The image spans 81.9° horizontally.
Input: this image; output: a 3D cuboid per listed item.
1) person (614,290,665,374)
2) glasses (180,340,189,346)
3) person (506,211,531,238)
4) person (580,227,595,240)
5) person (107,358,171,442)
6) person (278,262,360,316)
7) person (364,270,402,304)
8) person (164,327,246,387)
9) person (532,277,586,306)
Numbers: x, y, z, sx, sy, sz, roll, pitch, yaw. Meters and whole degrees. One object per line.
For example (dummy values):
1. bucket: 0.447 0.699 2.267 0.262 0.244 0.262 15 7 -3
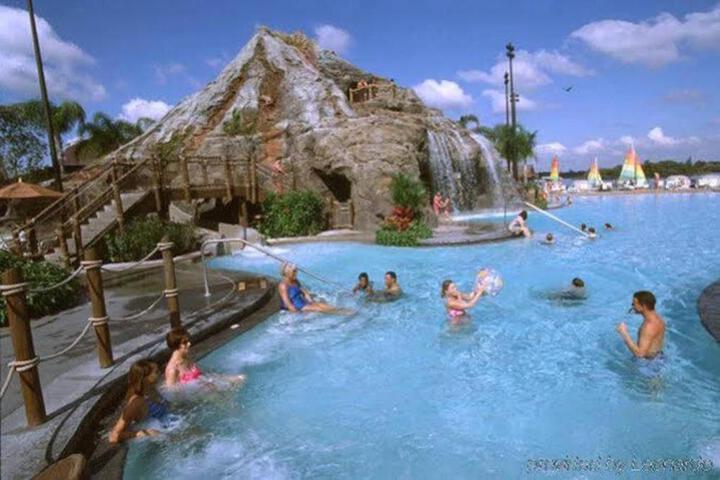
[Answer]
1. person: 5.573 1.898 8.276 0.943 1.855 0.679 -26 26 -30
2. glasses: -3.021 1.780 7.162 0.103 0.030 0.100 0 -1 21
3. person: 6.982 -0.694 18.099 0.874 1.126 2.172 -1 6 43
4. person: 10.032 -0.277 18.213 0.519 0.273 0.718 -28 2 6
5. person: -3.485 2.563 6.511 0.599 0.839 1.255 -2 5 -7
6. person: -1.070 1.279 10.038 1.926 1.140 0.908 6 15 19
7. person: 0.598 1.304 11.182 1.101 0.793 0.559 -3 -1 -34
8. person: -2.774 1.948 7.556 1.268 1.270 0.862 -2 10 -8
9. person: 5.576 1.490 11.324 1.023 0.430 0.764 -14 18 -14
